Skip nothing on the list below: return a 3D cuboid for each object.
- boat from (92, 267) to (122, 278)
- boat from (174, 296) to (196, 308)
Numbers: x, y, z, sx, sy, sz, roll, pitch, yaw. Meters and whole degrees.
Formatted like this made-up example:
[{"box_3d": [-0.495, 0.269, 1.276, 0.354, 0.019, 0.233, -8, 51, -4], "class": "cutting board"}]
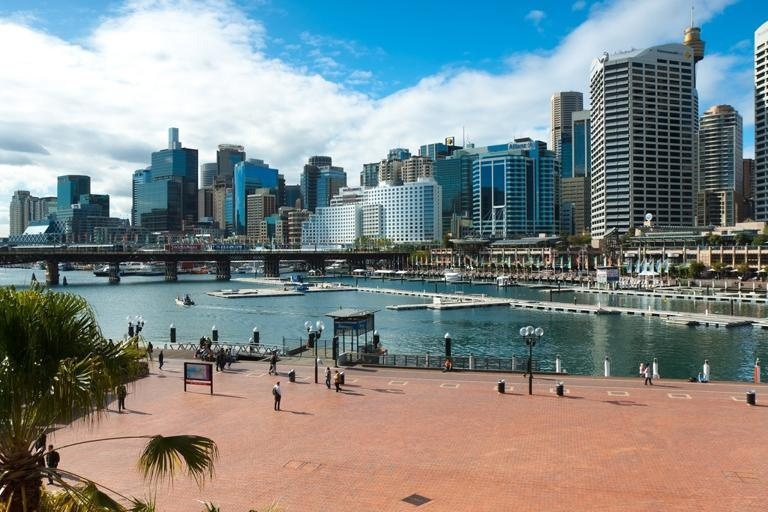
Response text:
[{"box_3d": [-93.558, 5.657, 266.832, 3.283, 2.983, 12.382, -2, -5, 43], "class": "boat"}, {"box_3d": [-38.121, 8.814, 152.081, 2.456, 2.469, 8.122, 2, 0, -32], "class": "boat"}]
